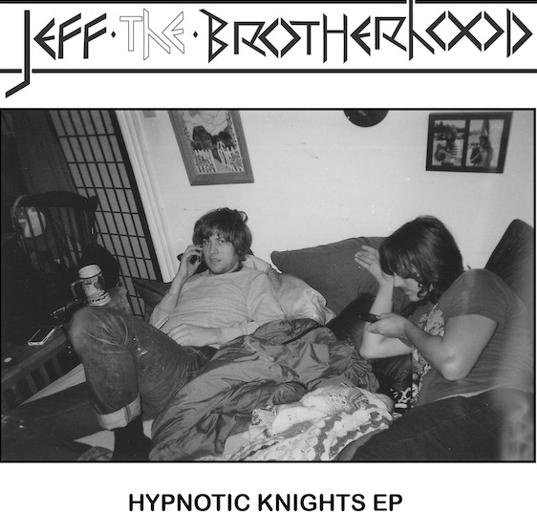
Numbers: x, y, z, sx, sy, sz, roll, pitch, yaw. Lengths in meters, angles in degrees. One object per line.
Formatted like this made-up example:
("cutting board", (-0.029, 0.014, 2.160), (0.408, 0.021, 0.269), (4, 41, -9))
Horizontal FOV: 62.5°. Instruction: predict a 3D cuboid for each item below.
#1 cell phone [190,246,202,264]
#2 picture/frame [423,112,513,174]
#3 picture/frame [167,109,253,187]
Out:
("cell phone", (-0.330, 0.001, 2.001), (0.062, 0.065, 0.021), (1, 6, 22))
("picture/frame", (0.798, -0.436, 1.731), (0.207, 0.193, 0.017), (7, -5, 10))
("picture/frame", (-0.245, -0.487, 1.953), (0.288, 0.365, 0.019), (-10, 21, 23))
